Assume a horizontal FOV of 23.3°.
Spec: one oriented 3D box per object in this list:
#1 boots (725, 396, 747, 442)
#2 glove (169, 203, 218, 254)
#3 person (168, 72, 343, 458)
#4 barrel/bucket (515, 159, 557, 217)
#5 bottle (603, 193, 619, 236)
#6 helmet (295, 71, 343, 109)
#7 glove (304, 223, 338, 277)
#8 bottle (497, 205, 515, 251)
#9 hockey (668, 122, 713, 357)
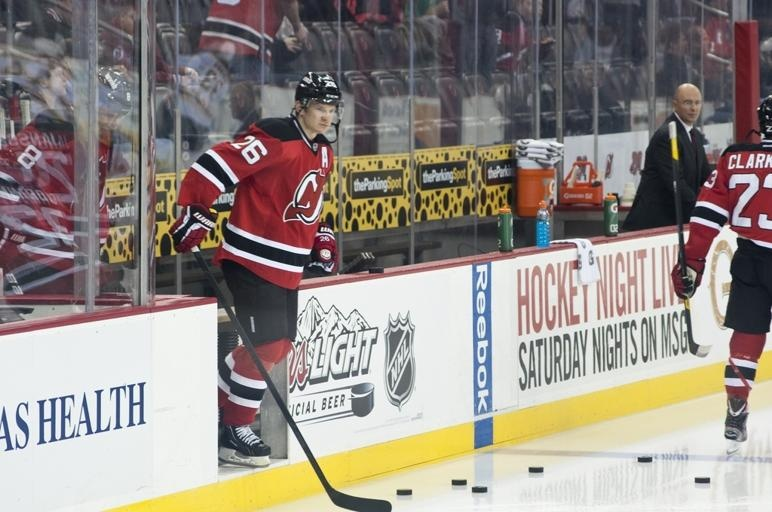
[{"bbox_3d":[2.244,1.055,11.921,0.149,0.292,0.217,-3,7,10],"label":"boots"},{"bbox_3d":[-1.108,-0.166,10.803,0.192,0.322,0.103,31,5,-10],"label":"glove"},{"bbox_3d":[-0.684,0.184,11.194,0.795,2.601,1.489,-1,-7,-1],"label":"person"},{"bbox_3d":[1.236,-0.543,15.290,0.503,0.547,0.339,0,3,-3],"label":"barrel/bucket"},{"bbox_3d":[1.553,-0.285,12.804,0.090,0.262,0.361,-3,7,6],"label":"bottle"},{"bbox_3d":[-0.399,-0.998,11.145,0.222,0.226,0.204,8,9,39],"label":"helmet"},{"bbox_3d":[-0.397,-0.042,11.452,0.235,0.304,0.102,3,5,-28],"label":"glove"},{"bbox_3d":[0.794,-0.176,12.238,0.087,0.280,0.230,-3,7,7],"label":"bottle"},{"bbox_3d":[1.979,-0.148,12.328,0.353,1.619,0.386,5,-9,-25],"label":"hockey"}]
